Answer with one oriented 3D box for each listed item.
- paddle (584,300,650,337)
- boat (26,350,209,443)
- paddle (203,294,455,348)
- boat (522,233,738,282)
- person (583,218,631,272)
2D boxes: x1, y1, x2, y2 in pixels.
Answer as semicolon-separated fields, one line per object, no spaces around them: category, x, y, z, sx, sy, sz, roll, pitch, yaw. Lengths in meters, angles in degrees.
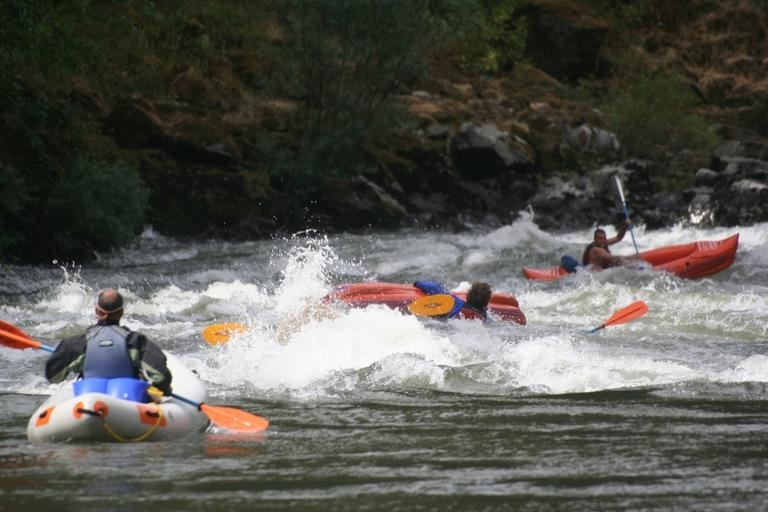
paddle;3.585;0.964;18.500;0.820;0.564;0.856;1;5;6
boat;-3.856;2.201;16.979;2.337;0.973;2.993;-2;5;-10
paddle;-0.653;1.002;18.095;3.447;0.450;0.231;-9;-19;9
boat;4.477;0.018;21.289;3.828;0.642;1.154;-11;5;4
person;3.872;-0.227;21.409;0.931;1.237;0.975;4;5;4
